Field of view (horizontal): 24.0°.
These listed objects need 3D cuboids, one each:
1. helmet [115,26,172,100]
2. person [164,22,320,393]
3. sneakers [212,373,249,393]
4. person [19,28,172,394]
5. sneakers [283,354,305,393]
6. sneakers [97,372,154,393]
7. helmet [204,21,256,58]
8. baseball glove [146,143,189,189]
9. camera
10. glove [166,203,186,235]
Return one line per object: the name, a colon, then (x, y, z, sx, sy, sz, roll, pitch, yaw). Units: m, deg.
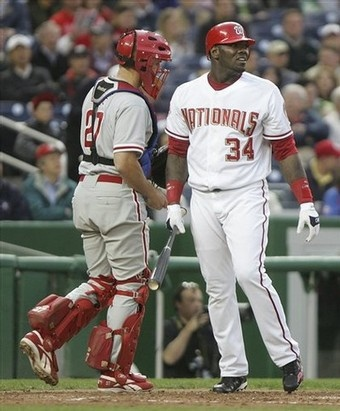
helmet: (-0.154, -0.821, 4.550, 0.366, 0.337, 0.278, 8, 15, -18)
person: (0.402, 0.016, 4.460, 0.847, 2.057, 0.833, -7, 15, -1)
sneakers: (0.341, 0.999, 4.451, 0.077, 0.077, 0.216, -2, -9, 41)
person: (-0.362, 0.049, 4.386, 0.610, 1.975, 1.106, 3, 18, 31)
sneakers: (0.676, 0.945, 4.393, 0.112, 0.225, 0.179, -5, 15, 7)
sneakers: (-0.250, 0.969, 4.359, 0.319, 0.106, 0.110, 2, -4, -18)
helmet: (0.333, -0.959, 4.507, 0.292, 0.121, 0.223, -13, -4, 39)
baseball glove: (-0.015, -0.235, 4.791, 0.092, 0.216, 0.185, 17, 11, 37)
camera: (0.536, 0.910, 6.299, 0.244, 0.125, 0.499, 9, 9, 42)
glove: (0.063, 0.084, 4.672, 0.073, 0.155, 0.130, 7, -26, -39)
